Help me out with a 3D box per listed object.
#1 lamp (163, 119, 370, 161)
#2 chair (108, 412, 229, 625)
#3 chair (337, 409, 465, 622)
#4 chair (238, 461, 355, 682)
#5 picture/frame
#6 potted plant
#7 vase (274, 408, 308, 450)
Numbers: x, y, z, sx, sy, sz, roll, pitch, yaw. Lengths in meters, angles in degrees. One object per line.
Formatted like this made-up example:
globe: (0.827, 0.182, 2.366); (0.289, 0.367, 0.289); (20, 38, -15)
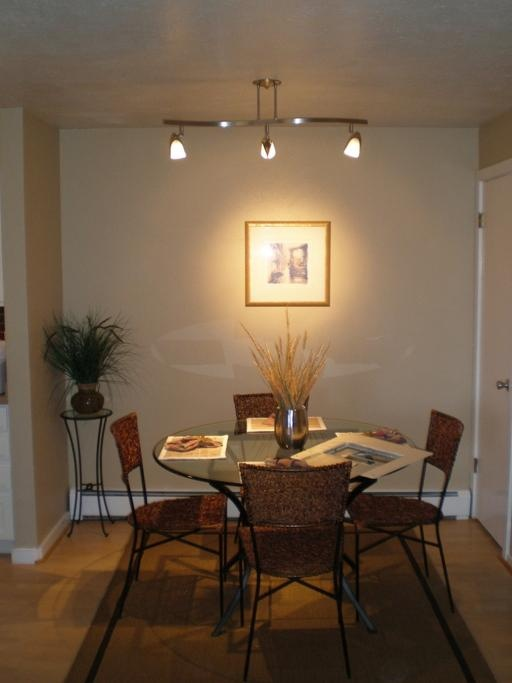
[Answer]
lamp: (0.046, -0.968, 2.596); (0.998, 0.203, 0.185); (-2, 14, -2)
chair: (-0.378, 0.761, 2.540); (0.495, 0.812, 0.450); (0, 3, 4)
chair: (0.691, 0.782, 2.572); (0.496, 0.862, 0.462); (3, 1, -4)
chair: (0.143, 0.799, 2.073); (0.419, 0.795, 0.623); (-1, 2, 5)
picture/frame: (0.202, -0.511, 3.375); (0.510, 0.534, 0.020); (-1, 7, 4)
potted plant: (-1.021, 0.103, 3.361); (0.526, 0.586, 0.564); (3, 6, 15)
vase: (0.160, 0.376, 2.385); (0.164, 0.176, 0.166); (0, 4, -1)
